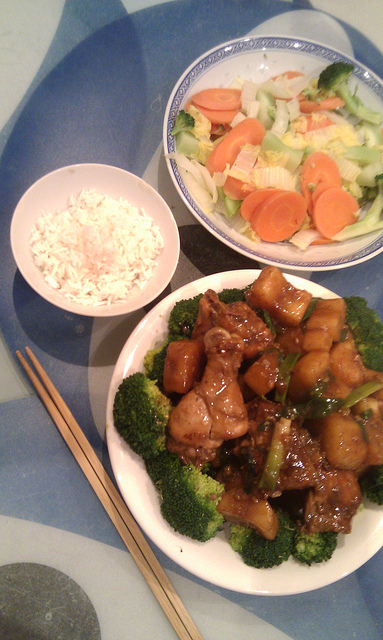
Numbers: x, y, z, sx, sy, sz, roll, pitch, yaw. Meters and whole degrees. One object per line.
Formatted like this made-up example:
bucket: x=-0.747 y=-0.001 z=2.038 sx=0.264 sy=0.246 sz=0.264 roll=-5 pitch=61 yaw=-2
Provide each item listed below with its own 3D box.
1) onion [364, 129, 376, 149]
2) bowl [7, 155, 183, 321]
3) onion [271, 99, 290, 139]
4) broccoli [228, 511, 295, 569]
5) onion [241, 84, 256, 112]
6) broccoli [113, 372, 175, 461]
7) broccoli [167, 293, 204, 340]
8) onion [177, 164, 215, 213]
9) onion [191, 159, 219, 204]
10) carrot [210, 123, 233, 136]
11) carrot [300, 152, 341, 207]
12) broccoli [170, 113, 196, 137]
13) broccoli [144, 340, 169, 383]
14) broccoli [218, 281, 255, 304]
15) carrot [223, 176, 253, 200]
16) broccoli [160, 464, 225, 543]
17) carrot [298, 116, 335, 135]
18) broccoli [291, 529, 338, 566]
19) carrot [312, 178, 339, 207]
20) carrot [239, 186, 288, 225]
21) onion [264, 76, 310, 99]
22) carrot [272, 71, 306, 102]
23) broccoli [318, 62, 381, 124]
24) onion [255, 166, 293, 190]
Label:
onion: x=0.921 y=-0.929 z=2.658 sx=0.058 sy=0.023 sz=0.100 roll=-6 pitch=91 yaw=-7
bowl: x=-0.412 y=-0.340 z=2.251 sx=0.705 sy=0.355 sz=0.635 roll=3 pitch=57 yaw=-1
onion: x=0.445 y=-1.014 z=2.561 sx=0.074 sy=0.111 sz=0.244 roll=10 pitch=57 yaw=4
broccoli: x=0.267 y=0.847 z=1.956 sx=0.216 sy=0.096 sz=0.191 roll=28 pitch=97 yaw=10
onion: x=0.279 y=-1.104 z=2.580 sx=0.122 sy=0.033 sz=0.113 roll=-7 pitch=89 yaw=-15
broccoli: x=-0.187 y=0.362 z=1.967 sx=0.233 sy=0.127 sz=0.306 roll=-7 pitch=80 yaw=17
broccoli: x=-0.034 y=-0.010 z=2.152 sx=0.142 sy=0.099 sz=0.178 roll=45 pitch=83 yaw=1
onion: x=0.025 y=-0.614 z=2.415 sx=0.199 sy=0.186 sz=0.110 roll=33 pitch=61 yaw=18
onion: x=0.033 y=-0.650 z=2.446 sx=0.061 sy=0.088 sz=0.235 roll=-22 pitch=83 yaw=-39
carrot: x=0.148 y=-0.949 z=2.563 sx=0.079 sy=0.075 sz=0.022 roll=-1 pitch=46 yaw=-3
carrot: x=0.615 y=-0.678 z=2.450 sx=0.188 sy=0.046 sz=0.264 roll=-7 pitch=87 yaw=-22
broccoli: x=-0.053 y=-0.905 z=2.393 sx=0.126 sy=0.037 sz=0.088 roll=-48 pitch=117 yaw=-29
broccoli: x=-0.128 y=0.171 z=2.120 sx=0.121 sy=0.062 sz=0.143 roll=-11 pitch=59 yaw=28
broccoli: x=0.178 y=-0.112 z=2.169 sx=0.107 sy=0.047 sz=0.076 roll=-34 pitch=37 yaw=-10
carrot: x=0.210 y=-0.610 z=2.448 sx=0.101 sy=0.094 sz=0.102 roll=-41 pitch=93 yaw=-14
broccoli: x=0.013 y=0.727 z=1.978 sx=0.277 sy=0.295 sz=0.087 roll=-3 pitch=102 yaw=5
carrot: x=0.640 y=-0.984 z=2.616 sx=0.104 sy=0.031 sz=0.108 roll=-27 pitch=83 yaw=2
broccoli: x=0.473 y=0.875 z=2.022 sx=0.128 sy=0.065 sz=0.164 roll=44 pitch=93 yaw=-12
carrot: x=0.642 y=-0.626 z=2.472 sx=0.123 sy=0.032 sz=0.136 roll=2 pitch=76 yaw=10
carrot: x=0.306 y=-0.555 z=2.407 sx=0.167 sy=0.166 sz=0.046 roll=-2 pitch=38 yaw=-9
onion: x=0.483 y=-1.177 z=2.622 sx=0.205 sy=0.066 sz=0.112 roll=11 pitch=82 yaw=-6
carrot: x=0.493 y=-1.208 z=2.704 sx=0.179 sy=0.042 sz=0.165 roll=-15 pitch=82 yaw=-5
broccoli: x=0.798 y=-1.128 z=2.607 sx=0.296 sy=0.145 sz=0.183 roll=31 pitch=31 yaw=0
onion: x=0.390 y=-0.668 z=2.435 sx=0.181 sy=0.044 sz=0.108 roll=-4 pitch=74 yaw=-10
